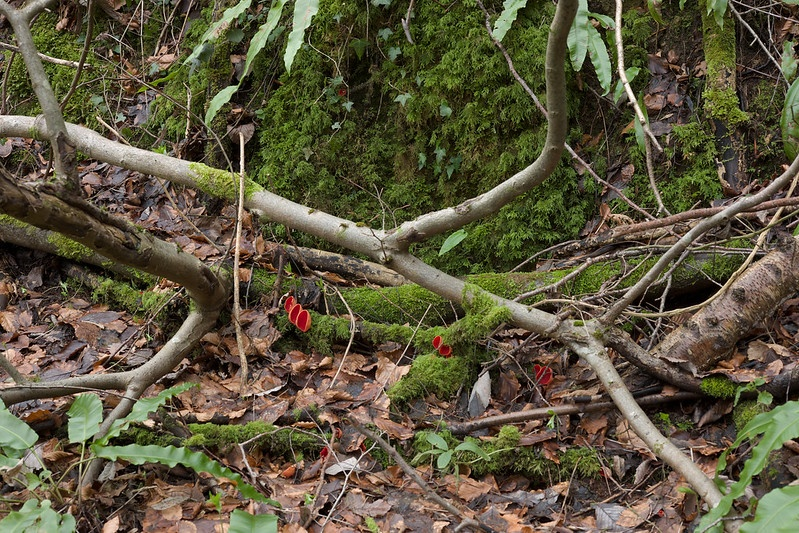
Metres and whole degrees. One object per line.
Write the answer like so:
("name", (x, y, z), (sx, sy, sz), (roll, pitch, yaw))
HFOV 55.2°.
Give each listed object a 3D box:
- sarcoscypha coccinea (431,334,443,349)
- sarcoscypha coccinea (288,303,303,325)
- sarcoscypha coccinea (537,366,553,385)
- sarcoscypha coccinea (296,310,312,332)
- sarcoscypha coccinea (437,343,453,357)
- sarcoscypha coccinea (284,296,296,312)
("sarcoscypha coccinea", (0.325, 0.628, 6.320), (0.079, 0.118, 0.075), (-1, 39, -7))
("sarcoscypha coccinea", (-0.837, 0.393, 6.345), (0.106, 0.039, 0.153), (16, 80, 43))
("sarcoscypha coccinea", (1.186, 0.875, 6.180), (0.129, 0.127, 0.113), (11, 39, 8))
("sarcoscypha coccinea", (-0.767, 0.446, 6.364), (0.119, 0.166, 0.169), (-2, 60, 0))
("sarcoscypha coccinea", (0.387, 0.685, 6.375), (0.115, 0.114, 0.102), (23, 16, -3))
("sarcoscypha coccinea", (-0.905, 0.298, 6.349), (0.096, 0.124, 0.046), (7, -1, 40))
